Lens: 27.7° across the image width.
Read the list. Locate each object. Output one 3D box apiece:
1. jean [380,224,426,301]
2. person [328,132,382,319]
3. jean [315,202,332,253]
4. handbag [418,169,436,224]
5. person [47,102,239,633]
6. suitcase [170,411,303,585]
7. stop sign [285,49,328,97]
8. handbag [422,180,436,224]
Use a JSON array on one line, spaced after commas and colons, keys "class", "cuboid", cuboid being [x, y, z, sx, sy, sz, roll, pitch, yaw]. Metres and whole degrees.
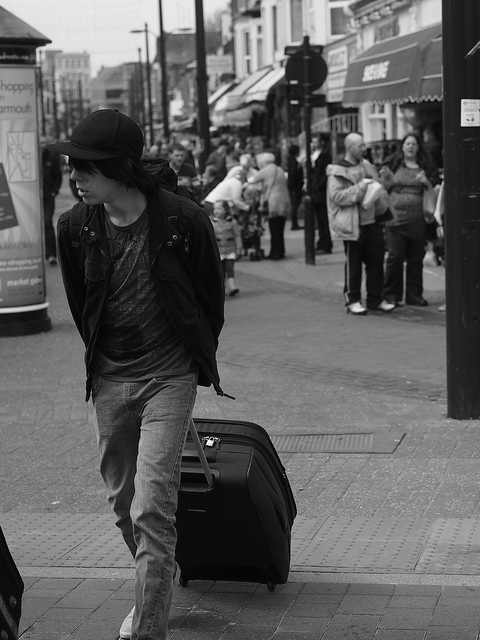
[{"class": "jean", "cuboid": [1.907, -0.743, 11.001, 0.320, 0.964, 0.236, 13, 32, 22]}, {"class": "person", "cuboid": [1.253, -1.048, 10.547, 0.551, 1.975, 0.682, -1, 5, 8]}, {"class": "jean", "cuboid": [1.536, -1.684, 17.468, 0.282, 0.906, 0.533, -5, 6, -31]}, {"class": "handbag", "cuboid": [2.090, -1.381, 10.790, 0.188, 0.600, 0.179, 0, 5, 17]}, {"class": "person", "cuboid": [-0.261, 0.096, 2.666, 0.469, 1.344, 0.525, -2, 5, -7]}, {"class": "suitcase", "cuboid": [-0.014, 0.596, 3.141, 0.444, 0.723, 0.402, -4, 46, 6]}, {"class": "stop sign", "cuboid": [1.055, -3.910, 15.352, 0.625, 0.687, 0.443, -1, 6, 3]}, {"class": "handbag", "cuboid": [2.109, -1.327, 10.784, 0.152, 0.476, 0.149, 1, 6, 25]}]
